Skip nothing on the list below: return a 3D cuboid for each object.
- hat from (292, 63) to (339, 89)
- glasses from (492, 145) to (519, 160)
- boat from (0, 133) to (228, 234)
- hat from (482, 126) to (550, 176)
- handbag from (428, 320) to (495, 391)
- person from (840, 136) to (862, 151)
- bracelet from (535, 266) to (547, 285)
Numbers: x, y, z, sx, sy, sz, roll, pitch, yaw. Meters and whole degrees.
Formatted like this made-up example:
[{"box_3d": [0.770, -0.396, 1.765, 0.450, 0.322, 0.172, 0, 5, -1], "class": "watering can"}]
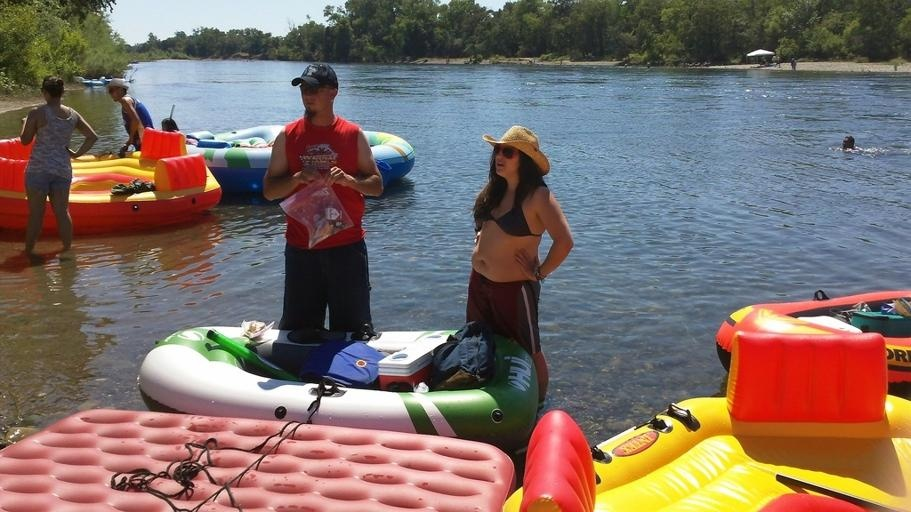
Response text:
[{"box_3d": [-1.651, -2.096, 8.514, 0.510, 0.208, 0.324, 2, 8, -14], "class": "hat"}, {"box_3d": [0.571, -1.174, 8.554, 0.198, 0.050, 0.202, 16, -7, -33], "class": "glasses"}, {"box_3d": [-6.329, -1.184, 13.467, 3.014, 0.886, 2.632, -2, 22, -19], "class": "boat"}, {"box_3d": [0.859, -1.308, 8.655, 0.804, 0.264, 0.655, 24, -5, -17], "class": "hat"}, {"box_3d": [-0.028, 1.110, 8.692, 0.495, 0.598, 0.588, -3, 33, -17], "class": "handbag"}, {"box_3d": [11.367, -3.190, 21.053, 0.568, 0.371, 0.760, -8, 3, 25], "class": "person"}, {"box_3d": [1.000, 0.216, 8.709, 0.099, 0.255, 0.173, 3, 19, 14], "class": "bracelet"}]
